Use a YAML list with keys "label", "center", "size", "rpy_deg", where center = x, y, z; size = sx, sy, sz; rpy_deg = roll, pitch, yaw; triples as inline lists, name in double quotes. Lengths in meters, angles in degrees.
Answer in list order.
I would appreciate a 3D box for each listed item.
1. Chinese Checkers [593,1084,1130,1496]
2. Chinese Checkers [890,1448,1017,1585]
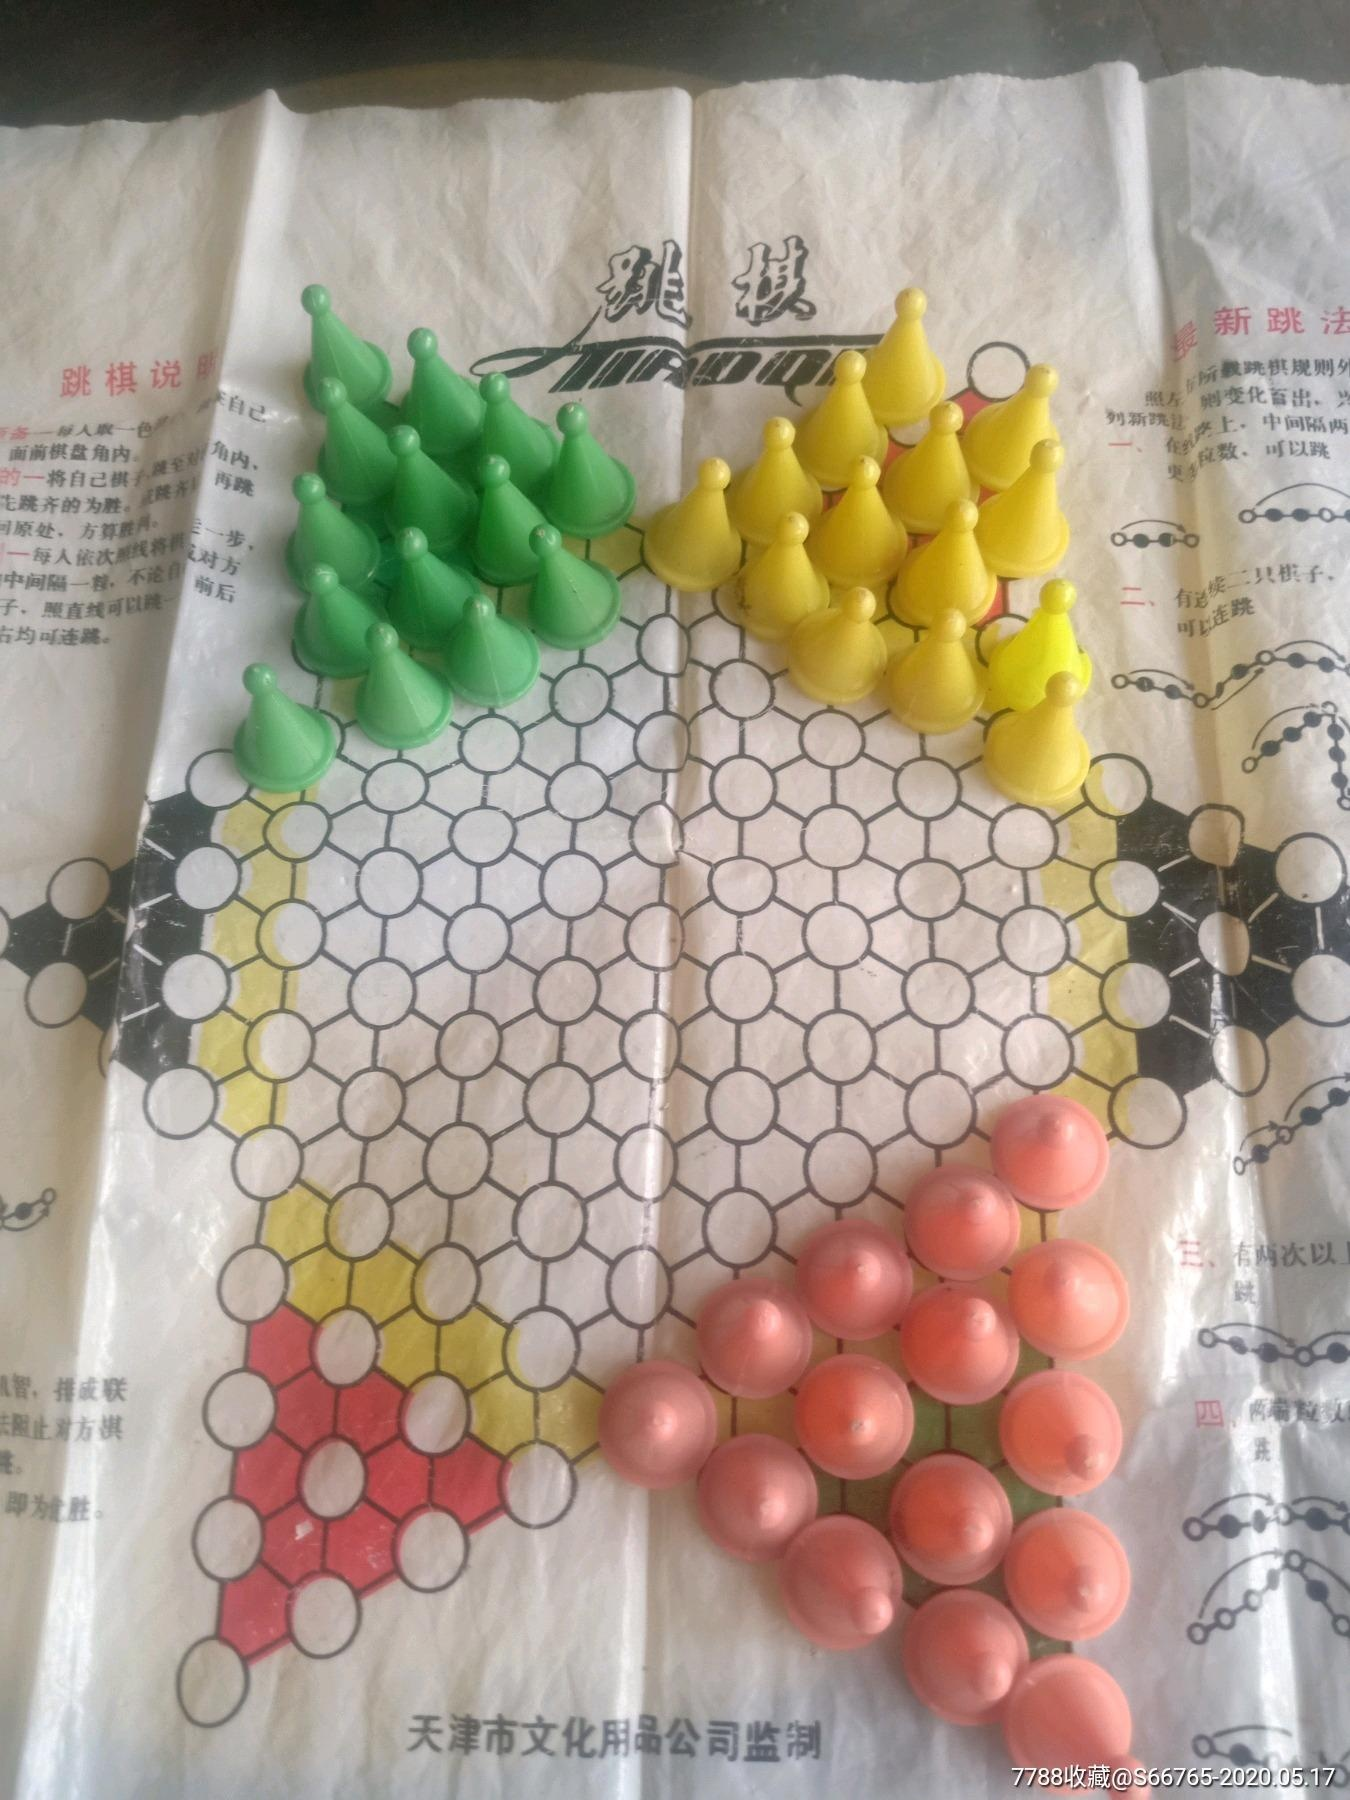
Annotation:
- label: "Chinese Checkers"
  center: [0.109, 0.214, 0.880]
  size: [0.299, 0.090, 0.223]
  rpy_deg: [2, 70, -1]
- label: "Chinese Checkers"
  center: [0.151, 0.338, 0.852]
  size: [0.073, 0.023, 0.069]
  rpy_deg: [1, 79, 8]
